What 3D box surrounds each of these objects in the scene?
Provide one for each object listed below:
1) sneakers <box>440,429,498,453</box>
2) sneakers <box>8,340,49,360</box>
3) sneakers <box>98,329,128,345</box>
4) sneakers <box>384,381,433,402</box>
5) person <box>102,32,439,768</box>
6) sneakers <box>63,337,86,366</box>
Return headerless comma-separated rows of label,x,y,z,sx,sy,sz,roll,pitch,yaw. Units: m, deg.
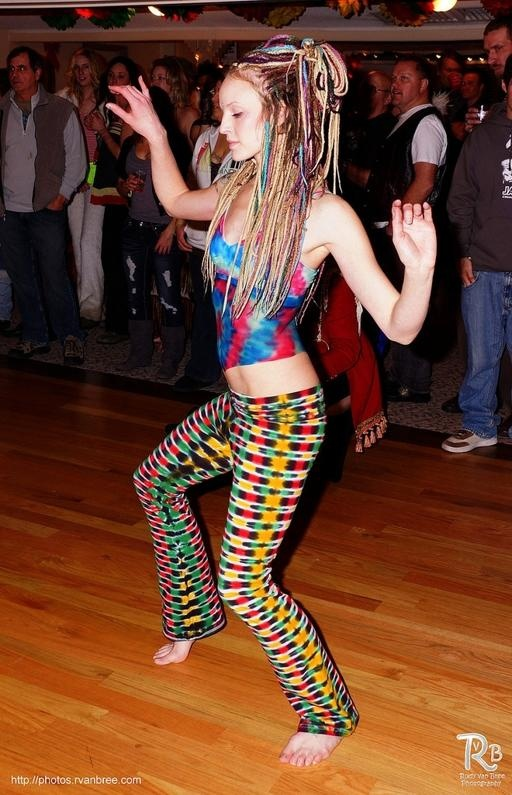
sneakers,1.086,0.224,3.141,0.318,0.118,0.113,-3,31,-13
sneakers,-1.580,-0.319,4.217,0.099,0.111,0.271,5,8,31
sneakers,-1.084,-0.449,4.602,0.092,0.095,0.234,8,9,33
sneakers,0.918,-0.031,3.847,0.387,0.147,0.141,2,17,6
person,0.010,0.060,1.173,0.317,1.350,0.719,-6,15,-38
sneakers,-1.243,-0.302,4.140,0.117,0.215,0.105,-1,-15,-3
